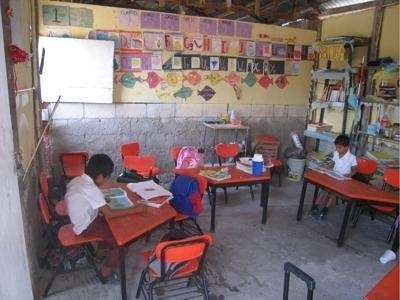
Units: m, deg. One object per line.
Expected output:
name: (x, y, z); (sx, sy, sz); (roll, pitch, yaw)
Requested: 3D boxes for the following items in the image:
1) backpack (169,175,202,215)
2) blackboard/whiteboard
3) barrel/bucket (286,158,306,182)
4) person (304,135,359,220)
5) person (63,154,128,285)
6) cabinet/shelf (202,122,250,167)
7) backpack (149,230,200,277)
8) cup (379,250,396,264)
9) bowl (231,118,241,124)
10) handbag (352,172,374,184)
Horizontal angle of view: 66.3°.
backpack: (-0.164, 0.535, 3.615); (0.208, 0.379, 0.402); (-13, 19, -40)
blackboard/whiteboard: (-2.067, -1.343, 5.017); (1.236, 1.082, 0.130); (-4, 16, -21)
barrel/bucket: (1.969, 0.374, 6.497); (0.444, 0.577, 0.401); (8, 6, 18)
person: (2.016, 0.367, 4.721); (0.699, 1.267, 0.540); (-10, 16, -22)
person: (-1.096, 0.701, 3.212); (0.524, 1.318, 0.909); (-5, 16, -25)
cabinet/shelf: (0.450, -0.121, 5.934); (0.739, 0.944, 0.494); (-3, 21, -13)
backpack: (-0.236, 0.888, 2.858); (0.311, 0.432, 0.375); (-3, 18, -23)
cup: (2.283, 1.299, 3.748); (0.201, 0.092, 0.106); (-14, 25, -20)
bowl: (0.699, -0.543, 5.953); (0.167, 0.092, 0.122); (0, 14, -8)
handbag: (2.556, 0.419, 4.836); (0.218, 0.242, 0.233); (-3, 4, -36)
